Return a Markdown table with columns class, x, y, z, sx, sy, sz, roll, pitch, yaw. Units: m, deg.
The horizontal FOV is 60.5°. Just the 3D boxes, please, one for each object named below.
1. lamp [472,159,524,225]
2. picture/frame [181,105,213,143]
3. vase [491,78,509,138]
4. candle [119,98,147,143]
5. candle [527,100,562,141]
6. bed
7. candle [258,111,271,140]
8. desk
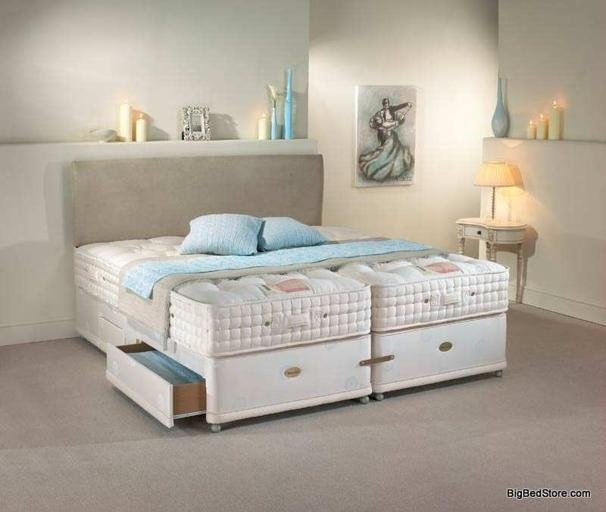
| class | x | y | z | sx | sy | sz | roll | pitch | yaw |
| --- | --- | --- | --- | --- | --- | --- | --- | --- | --- |
| lamp | 1.834 | -0.622 | 5.017 | 0.438 | 0.504 | 0.428 | -5 | 11 | -11 |
| picture/frame | -0.893 | -1.089 | 4.312 | 0.366 | 0.392 | 0.045 | -2 | 4 | -21 |
| vase | 1.935 | -1.447 | 5.118 | 0.169 | 0.586 | 0.142 | 5 | 9 | 43 |
| candle | -1.340 | -1.052 | 4.122 | 0.235 | 0.328 | 0.157 | -2 | 7 | -18 |
| candle | 2.179 | -1.212 | 4.684 | 0.152 | 0.388 | 0.413 | -1 | 9 | -19 |
| bed | -0.417 | 0.194 | 3.381 | 2.237 | 1.241 | 2.086 | -5 | 10 | -31 |
| candle | -0.338 | -1.128 | 4.588 | 0.116 | 0.247 | 0.088 | -2 | 7 | -14 |
| desk | 1.850 | 0.018 | 5.074 | 0.523 | 0.680 | 0.730 | -5 | 9 | -20 |
